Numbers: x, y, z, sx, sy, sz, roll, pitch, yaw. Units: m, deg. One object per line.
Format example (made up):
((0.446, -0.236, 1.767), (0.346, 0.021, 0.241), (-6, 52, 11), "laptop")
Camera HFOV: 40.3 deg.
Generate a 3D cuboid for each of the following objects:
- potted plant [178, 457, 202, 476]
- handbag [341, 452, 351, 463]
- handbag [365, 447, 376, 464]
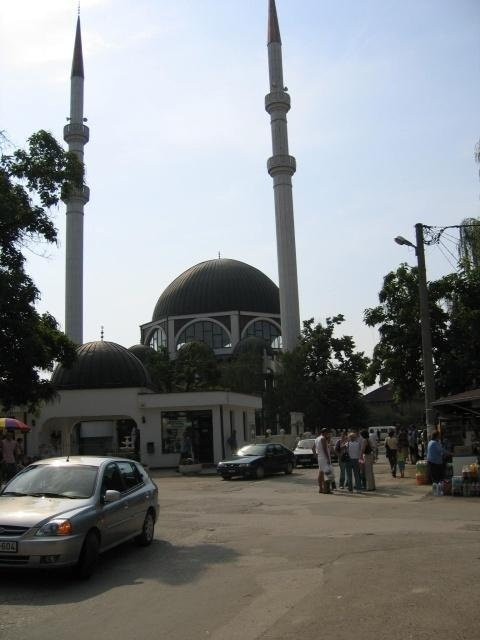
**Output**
((-2.070, 6.080, 27.084), (0.726, 0.550, 0.597), (1, -23, -5), "potted plant")
((2.660, 3.409, 16.450), (0.110, 0.231, 0.208), (8, -13, -44), "handbag")
((3.300, 3.389, 16.818), (0.274, 0.519, 0.245), (0, -9, -5), "handbag")
